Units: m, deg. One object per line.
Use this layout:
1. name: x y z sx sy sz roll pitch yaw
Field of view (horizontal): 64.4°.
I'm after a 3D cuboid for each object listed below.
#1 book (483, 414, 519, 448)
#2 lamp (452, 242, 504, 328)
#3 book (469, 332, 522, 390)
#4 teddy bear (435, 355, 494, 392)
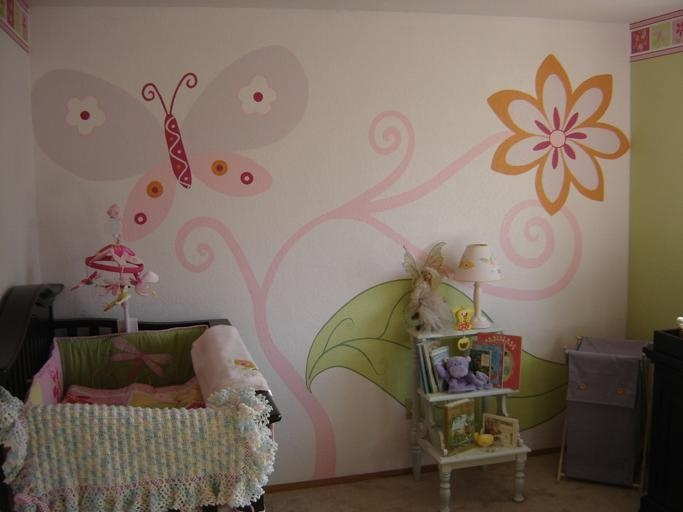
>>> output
1. book: 1.013 1.129 3.459 0.146 0.133 0.059 5 -4 37
2. lamp: 0.883 0.194 3.596 0.293 0.475 0.315 1 0 0
3. book: 0.976 0.678 3.458 0.296 0.477 0.044 1 0 11
4. teddy bear: 0.774 0.760 3.451 0.315 0.250 0.217 -5 -13 4
